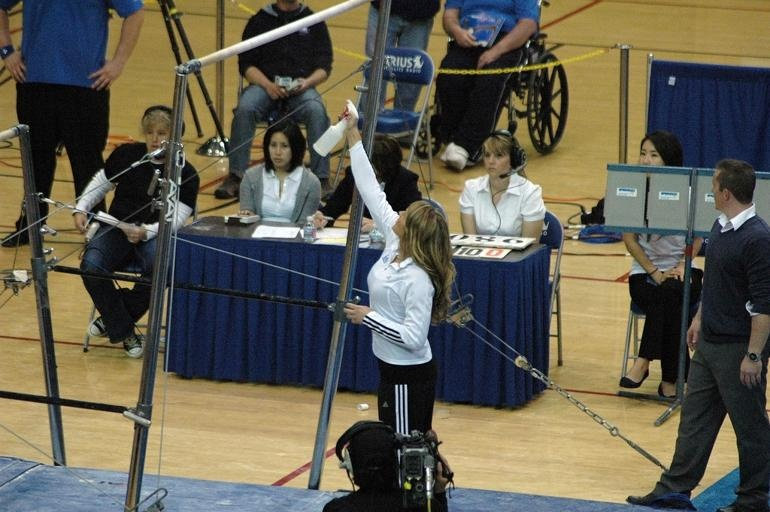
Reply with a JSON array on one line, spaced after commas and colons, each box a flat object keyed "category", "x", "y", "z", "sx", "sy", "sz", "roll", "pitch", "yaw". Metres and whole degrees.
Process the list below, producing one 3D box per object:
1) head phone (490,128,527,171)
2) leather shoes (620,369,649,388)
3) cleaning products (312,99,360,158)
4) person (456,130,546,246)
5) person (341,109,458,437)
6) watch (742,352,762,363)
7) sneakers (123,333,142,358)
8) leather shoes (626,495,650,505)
[{"category": "head phone", "x": 0.881, "y": -0.857, "z": 8.976, "sx": 0.375, "sy": 0.280, "sz": 0.133, "roll": -3, "pitch": 4, "yaw": 4}, {"category": "leather shoes", "x": 1.922, "y": 0.958, "z": 8.775, "sx": 0.219, "sy": 0.076, "sz": 0.116, "roll": -6, "pitch": 8, "yaw": -43}, {"category": "cleaning products", "x": -0.306, "y": -0.798, "z": 6.980, "sx": 0.221, "sy": 0.351, "sz": 0.438, "roll": 4, "pitch": 4, "yaw": 0}, {"category": "person", "x": 0.910, "y": -0.466, "z": 9.098, "sx": 0.754, "sy": 0.997, "sz": 0.717, "roll": 5, "pitch": 6, "yaw": 26}, {"category": "person", "x": 0.068, "y": 0.088, "z": 7.209, "sx": 0.698, "sy": 2.045, "sz": 0.583, "roll": 7, "pitch": 6, "yaw": 25}, {"category": "watch", "x": 2.334, "y": 0.649, "z": 7.202, "sx": 0.075, "sy": 0.060, "sz": 0.065, "roll": 15, "pitch": 0, "yaw": 12}, {"category": "sneakers", "x": -2.024, "y": 0.729, "z": 9.061, "sx": 0.130, "sy": 0.206, "sz": 0.098, "roll": -14, "pitch": -4, "yaw": -1}, {"category": "leather shoes", "x": 1.664, "y": 1.629, "z": 7.496, "sx": 0.143, "sy": 0.043, "sz": 0.050, "roll": 5, "pitch": 15, "yaw": 27}]
